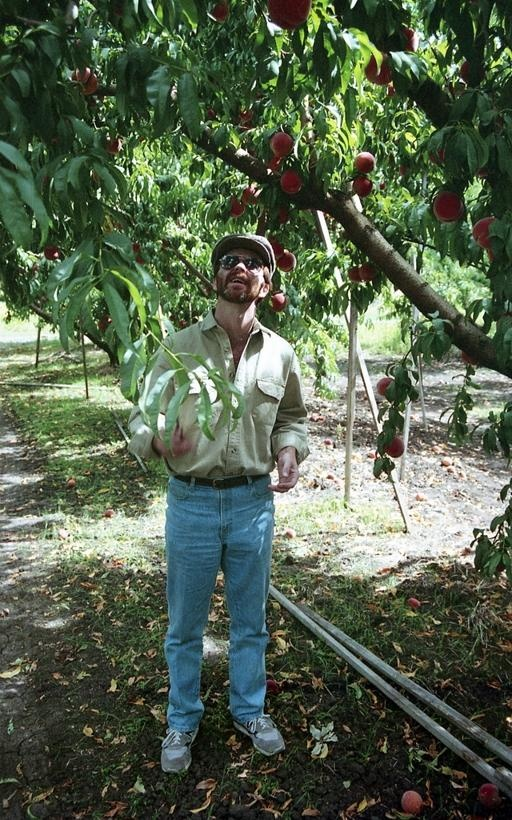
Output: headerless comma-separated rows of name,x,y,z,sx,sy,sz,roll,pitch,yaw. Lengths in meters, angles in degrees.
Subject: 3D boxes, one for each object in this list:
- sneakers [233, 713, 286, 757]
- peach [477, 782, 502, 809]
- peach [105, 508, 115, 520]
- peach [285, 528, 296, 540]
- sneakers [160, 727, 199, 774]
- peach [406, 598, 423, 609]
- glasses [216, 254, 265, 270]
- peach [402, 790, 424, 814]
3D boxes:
sneakers,0.011,1.158,2.306,0.085,0.082,0.189,2,4,-43
peach,0.715,1.181,1.949,0.056,0.059,0.076,-11,-20,-7
peach,-1.098,0.776,4.746,0.049,0.050,0.066,4,8,-23
peach,0.227,0.834,4.276,0.050,0.034,0.061,-11,12,-6
sneakers,-0.276,1.166,2.174,0.063,0.074,0.172,1,-4,2
peach,0.810,0.985,3.261,0.069,0.043,0.062,1,11,15
glasses,-0.086,-0.491,2.139,0.127,0.055,0.239,-10,13,-36
peach,0.487,1.225,1.983,0.056,0.069,0.056,-8,9,-15
